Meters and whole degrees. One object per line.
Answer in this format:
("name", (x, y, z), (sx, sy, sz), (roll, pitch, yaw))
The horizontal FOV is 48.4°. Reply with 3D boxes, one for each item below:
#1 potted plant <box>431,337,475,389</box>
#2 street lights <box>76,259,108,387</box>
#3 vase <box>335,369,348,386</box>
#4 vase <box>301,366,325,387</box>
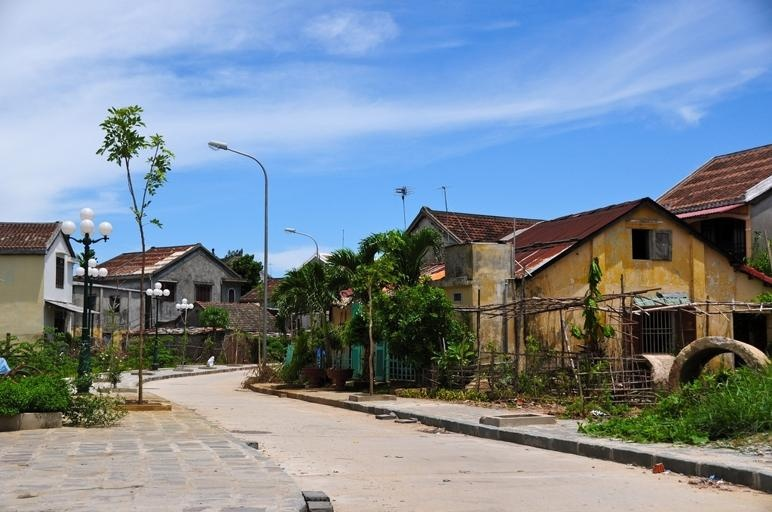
("potted plant", (2.300, 3.432, 27.646), (1.484, 1.656, 1.690), (7, -14, -36))
("street lights", (-8.703, 1.823, 24.901), (0.889, 3.405, 0.864), (1, -7, -27))
("vase", (-1.636, 4.417, 31.272), (0.585, 0.423, 0.573), (-3, -3, 1))
("vase", (-2.778, 4.645, 33.195), (0.792, 0.558, 0.790), (-8, -11, 36))
